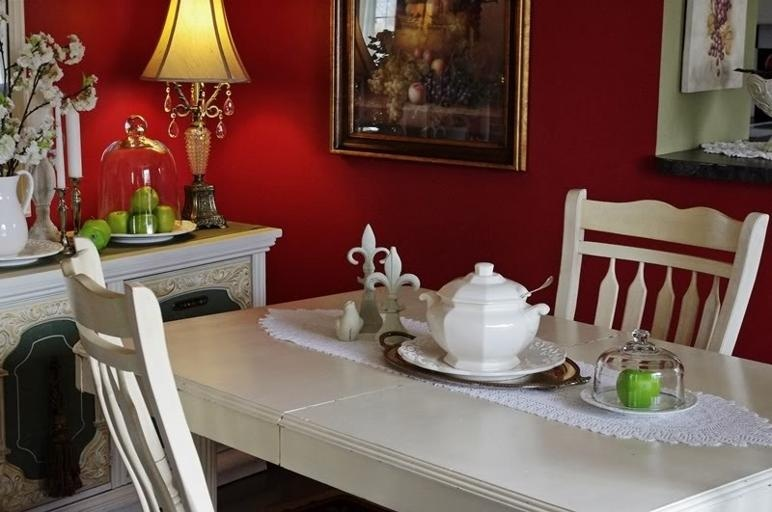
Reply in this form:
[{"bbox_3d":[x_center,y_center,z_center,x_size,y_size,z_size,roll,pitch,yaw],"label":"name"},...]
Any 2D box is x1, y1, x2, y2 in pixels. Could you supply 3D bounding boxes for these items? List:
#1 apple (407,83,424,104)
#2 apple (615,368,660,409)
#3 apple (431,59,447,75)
[{"bbox_3d":[0.145,-0.779,3.144,0.083,0.094,0.085,4,-4,-28],"label":"apple"},{"bbox_3d":[0.542,0.286,1.409,0.081,0.081,0.081,6,-7,-35],"label":"apple"},{"bbox_3d":[0.249,-0.887,3.068,0.062,0.085,0.066,-3,4,-4],"label":"apple"}]
